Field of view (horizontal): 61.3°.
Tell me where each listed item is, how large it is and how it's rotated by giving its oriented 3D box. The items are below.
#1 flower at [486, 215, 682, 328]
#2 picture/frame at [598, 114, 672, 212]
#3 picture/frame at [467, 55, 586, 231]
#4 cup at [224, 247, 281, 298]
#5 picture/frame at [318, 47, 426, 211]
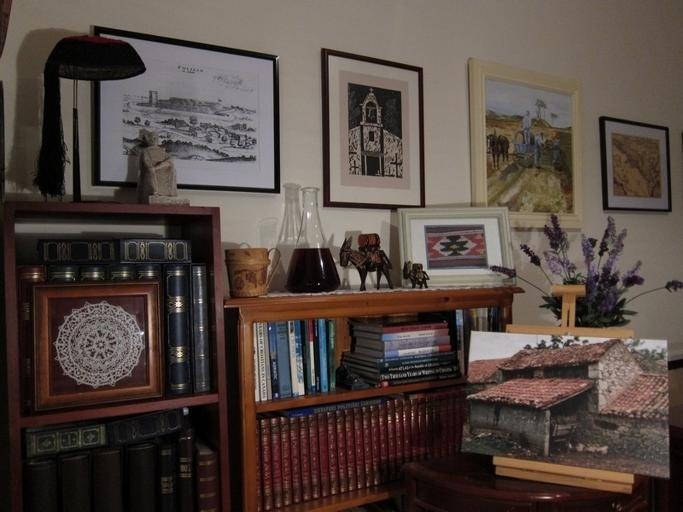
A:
[{"bbox_3d":[1.157,0.140,2.741,0.766,0.563,0.737,15,-14,-30],"label":"flower"},{"bbox_3d":[1.675,-0.523,3.320,0.542,0.539,0.052,1,-6,-37],"label":"picture/frame"},{"bbox_3d":[0.919,-0.567,2.941,0.895,0.970,0.060,-1,0,-34],"label":"picture/frame"},{"bbox_3d":[-0.337,0.060,2.174,0.174,0.151,0.149,4,-7,-29],"label":"cup"},{"bbox_3d":[0.117,-0.567,2.601,0.704,0.911,0.032,-2,2,-33],"label":"picture/frame"}]
